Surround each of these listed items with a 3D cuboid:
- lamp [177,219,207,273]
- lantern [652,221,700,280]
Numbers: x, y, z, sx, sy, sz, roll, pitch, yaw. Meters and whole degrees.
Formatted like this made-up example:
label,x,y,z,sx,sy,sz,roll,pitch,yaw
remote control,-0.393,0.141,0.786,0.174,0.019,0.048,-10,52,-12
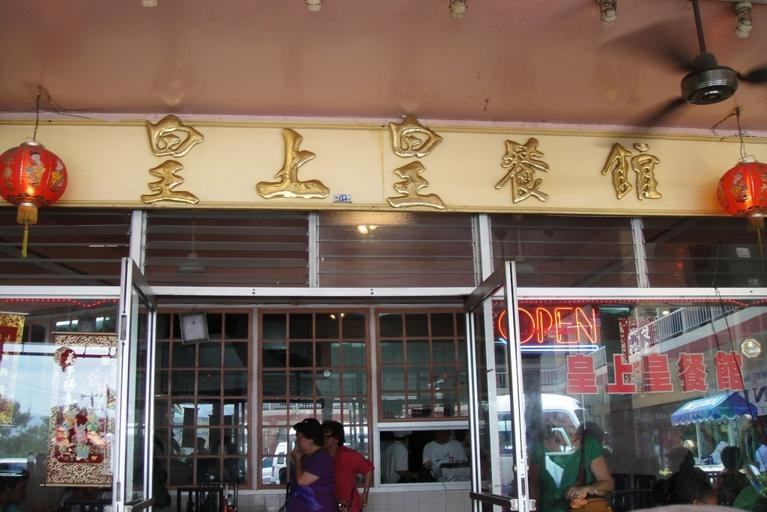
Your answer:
label,x,y,z,sx,sy,sz,roll,pitch,yaw
lamp,-1.504,-0.069,5.542,0.212,0.404,0.087,1,-18,-13
lantern,2.388,-0.029,5.805,0.387,0.535,0.166,0,-18,-10
